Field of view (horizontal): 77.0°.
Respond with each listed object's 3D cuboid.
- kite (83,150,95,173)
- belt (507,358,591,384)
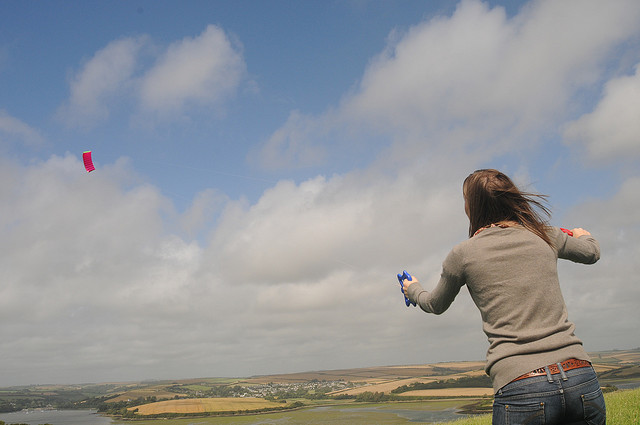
[{"bbox_3d":[-15.159,-3.250,26.274,0.630,1.460,0.828,12,-30,-32],"label":"kite"},{"bbox_3d":[2.416,1.620,4.119,0.418,0.102,0.380,-23,-25,14],"label":"belt"}]
